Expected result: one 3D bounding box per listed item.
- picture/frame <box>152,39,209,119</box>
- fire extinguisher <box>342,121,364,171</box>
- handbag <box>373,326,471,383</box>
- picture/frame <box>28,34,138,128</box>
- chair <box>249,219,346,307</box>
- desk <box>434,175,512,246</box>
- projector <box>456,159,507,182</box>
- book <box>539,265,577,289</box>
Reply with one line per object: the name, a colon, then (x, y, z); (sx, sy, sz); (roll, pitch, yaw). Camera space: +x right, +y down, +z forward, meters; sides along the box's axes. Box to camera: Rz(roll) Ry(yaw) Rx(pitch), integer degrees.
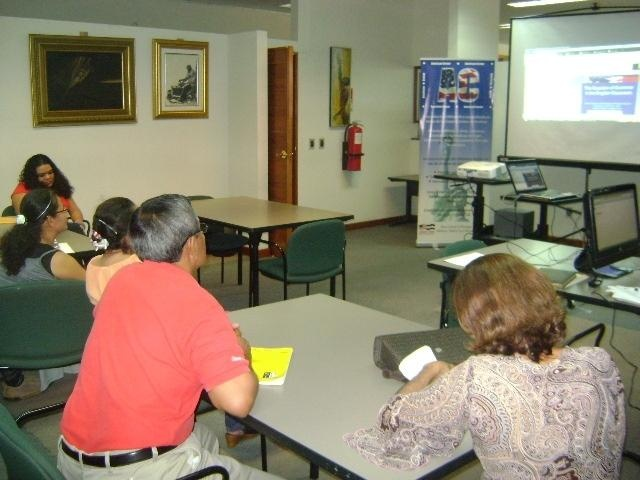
picture/frame: (-1.601, -1.907, 6.244); (0.148, 0.890, 0.708); (12, 19, 41)
fire extinguisher: (0.524, -1.349, 7.720); (0.265, 0.734, 0.228); (-10, 17, -36)
handbag: (0.367, 0.391, 1.929); (0.244, 0.068, 0.246); (-6, 9, -27)
picture/frame: (-2.508, -1.720, 5.599); (1.033, 0.909, 0.074); (-6, 10, -36)
chair: (-0.184, 0.125, 4.597); (0.646, 0.915, 0.699); (-8, 19, -28)
desk: (1.846, -0.387, 6.404); (0.836, 0.865, 0.836); (-7, 10, -39)
projector: (1.928, -0.818, 6.211); (0.564, 0.168, 0.457); (4, 15, 14)
book: (1.170, 0.187, 2.579); (0.133, 0.028, 0.134); (-18, 26, -36)
